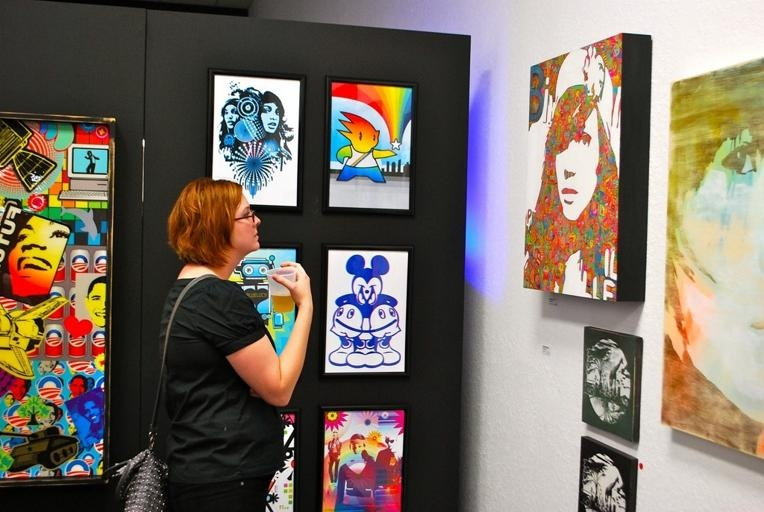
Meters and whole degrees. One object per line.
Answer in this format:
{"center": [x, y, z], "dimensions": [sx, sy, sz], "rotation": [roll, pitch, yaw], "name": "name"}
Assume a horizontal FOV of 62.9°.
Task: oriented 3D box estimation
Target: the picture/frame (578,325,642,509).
{"center": [0.895, 0.668, 2.459], "dimensions": [0.046, 0.755, 0.255], "rotation": [2, 1, -33], "name": "picture/frame"}

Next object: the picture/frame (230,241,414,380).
{"center": [-0.291, 0.222, 2.776], "dimensions": [0.627, 0.971, 0.036], "rotation": [0, -1, -9], "name": "picture/frame"}

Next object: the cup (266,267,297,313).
{"center": [-0.379, 0.118, 2.325], "dimensions": [0.138, 0.162, 0.143], "rotation": [-1, 3, 0], "name": "cup"}
